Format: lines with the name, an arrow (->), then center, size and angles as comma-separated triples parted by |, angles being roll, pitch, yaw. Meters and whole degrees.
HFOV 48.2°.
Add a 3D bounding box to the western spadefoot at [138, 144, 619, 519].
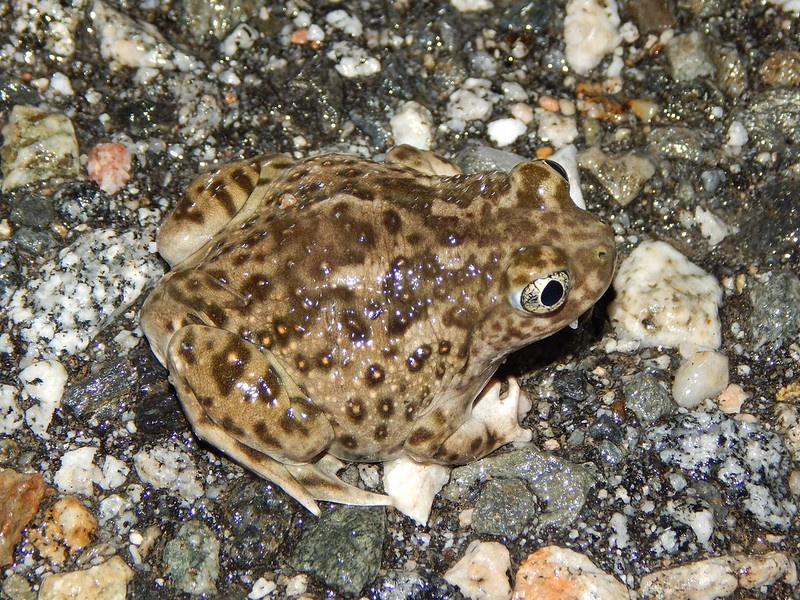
western spadefoot -> -0.095, 0.069, 4.798 | 2.152, 0.828, 2.262 | -9, 75, -4
